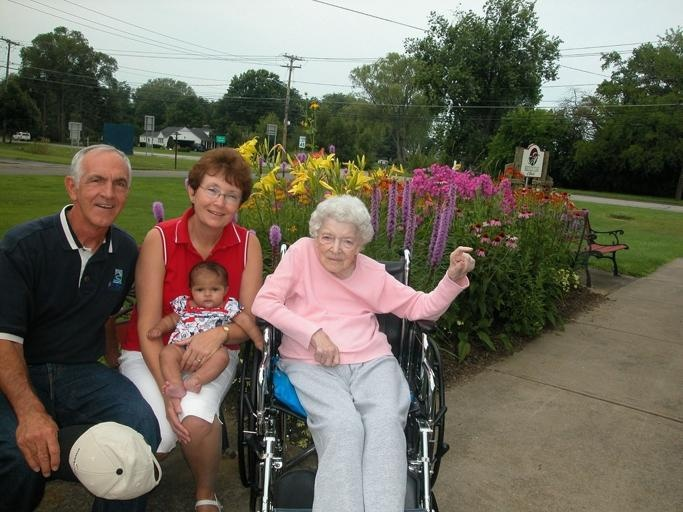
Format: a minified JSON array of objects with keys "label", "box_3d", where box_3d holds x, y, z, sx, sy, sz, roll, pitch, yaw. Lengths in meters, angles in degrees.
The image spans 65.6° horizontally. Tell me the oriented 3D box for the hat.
[{"label":"hat","box_3d":[-1.255,1.140,2.932,0.432,0.373,0.252,5,14,14]}]
